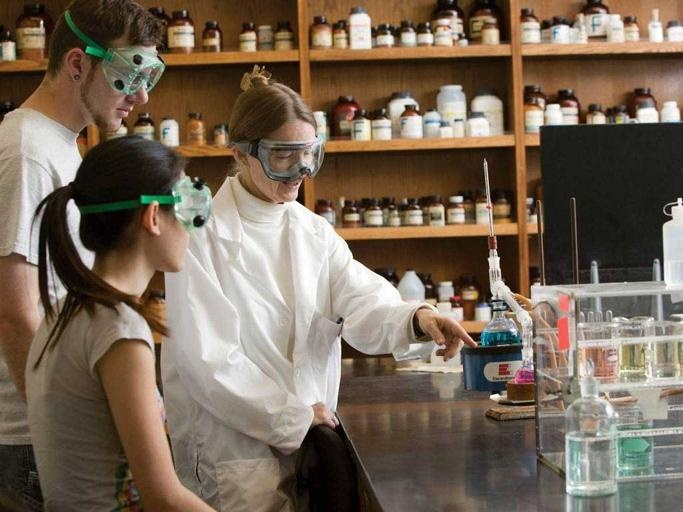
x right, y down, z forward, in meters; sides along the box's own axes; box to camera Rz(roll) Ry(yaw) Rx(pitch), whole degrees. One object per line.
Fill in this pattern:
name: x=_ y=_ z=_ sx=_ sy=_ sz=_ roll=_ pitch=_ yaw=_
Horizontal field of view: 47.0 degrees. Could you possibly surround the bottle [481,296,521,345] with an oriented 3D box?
bottle: x=0.434 y=0.184 z=2.250 sx=0.124 sy=0.182 sz=0.126 roll=-1 pitch=-6 yaw=0
